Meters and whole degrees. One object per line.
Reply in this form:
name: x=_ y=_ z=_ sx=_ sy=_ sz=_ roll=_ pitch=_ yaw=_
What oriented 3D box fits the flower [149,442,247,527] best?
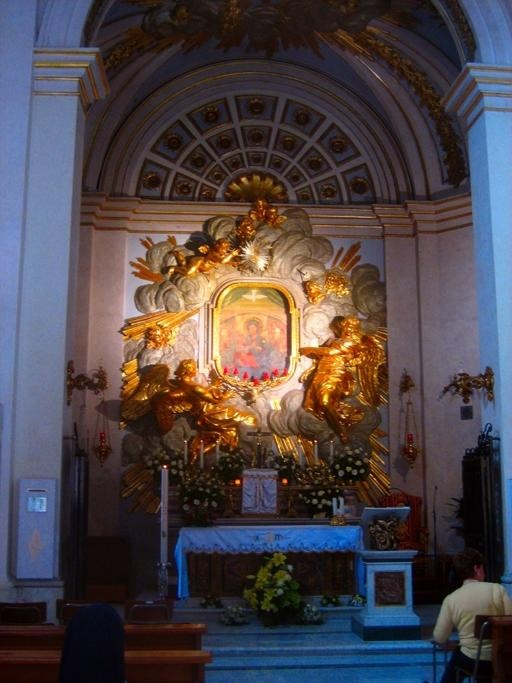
flower: x=-0.566 y=1.557 z=10.488 sx=1.019 sy=0.800 sz=0.287 roll=0 pitch=-13 yaw=7

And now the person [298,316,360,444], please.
person: x=0.980 y=0.448 z=12.171 sx=0.735 sy=1.635 sz=0.338 roll=-8 pitch=-13 yaw=19

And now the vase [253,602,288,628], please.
vase: x=0.104 y=2.460 z=8.657 sx=0.263 sy=0.163 sz=0.441 roll=2 pitch=-11 yaw=-24

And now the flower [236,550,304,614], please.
flower: x=0.145 y=2.170 z=8.596 sx=0.517 sy=0.543 sz=0.380 roll=-3 pitch=-11 yaw=1

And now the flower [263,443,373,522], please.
flower: x=0.713 y=1.586 z=11.098 sx=1.087 sy=0.704 sz=0.475 roll=-1 pitch=6 yaw=-20
